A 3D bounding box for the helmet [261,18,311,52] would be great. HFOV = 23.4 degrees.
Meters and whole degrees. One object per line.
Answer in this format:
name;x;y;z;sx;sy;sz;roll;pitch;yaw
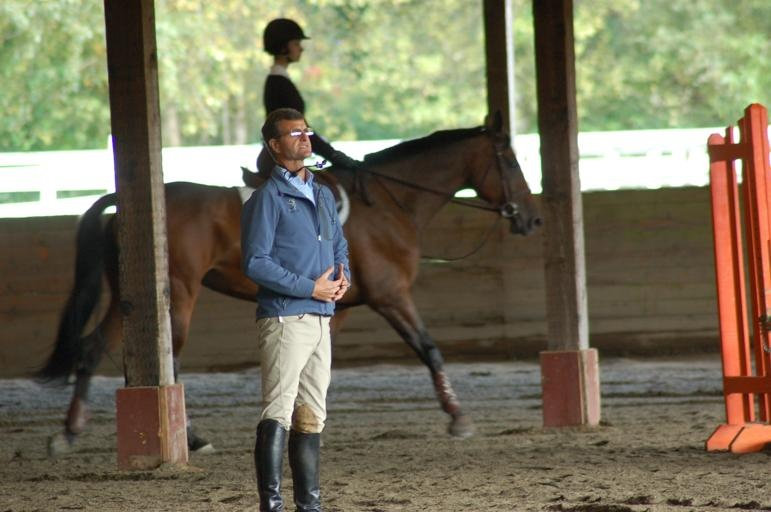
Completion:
helmet;-1.297;-2.949;24.982;0.534;0.302;0.377;-7;11;11
